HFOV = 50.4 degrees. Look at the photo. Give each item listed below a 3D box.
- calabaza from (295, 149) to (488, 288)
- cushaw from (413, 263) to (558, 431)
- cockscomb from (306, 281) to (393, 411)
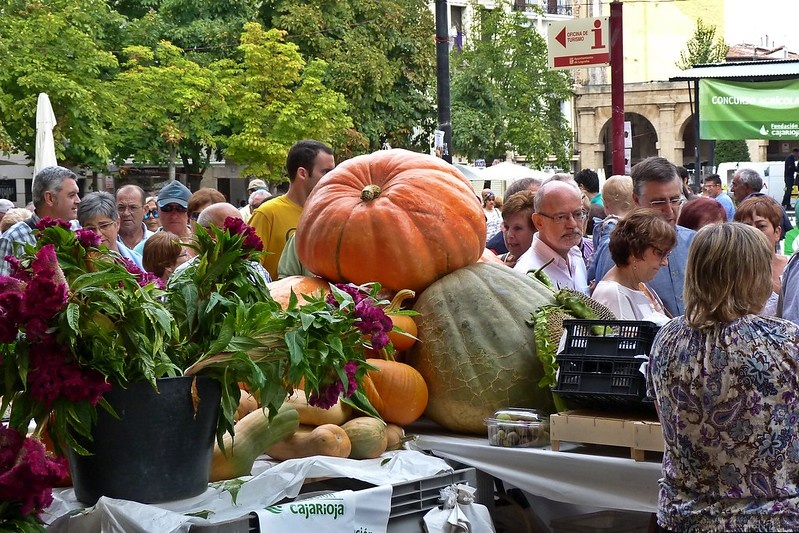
[{"bbox_3d":[-0.036,-0.258,4.647,0.874,0.523,0.816,-2,36,8],"label":"calabaza"},{"bbox_3d":[0.416,0.412,4.439,0.802,0.775,0.602,0,0,0],"label":"cushaw"},{"bbox_3d":[-0.223,0.313,3.361,0.444,0.397,0.386,25,-4,-16],"label":"cockscomb"}]
